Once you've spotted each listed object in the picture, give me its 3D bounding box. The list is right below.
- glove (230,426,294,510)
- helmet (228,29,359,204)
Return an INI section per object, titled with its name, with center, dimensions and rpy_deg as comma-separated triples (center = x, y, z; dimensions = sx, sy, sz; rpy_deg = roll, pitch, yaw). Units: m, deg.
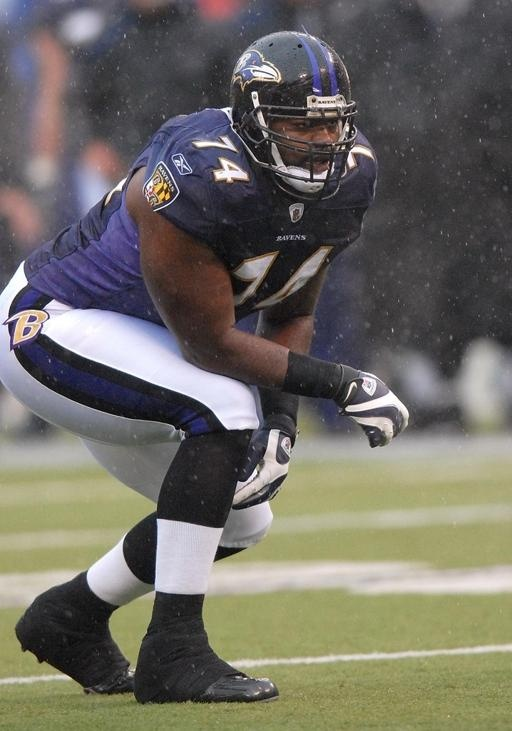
[glove]
center = 0.016, 0.176, 1.588
dimensions = 0.059, 0.086, 0.145
rpy_deg = -12, 35, 56
[helmet]
center = 0.060, -0.408, 1.496
dimensions = 0.198, 0.298, 0.137
rpy_deg = -3, -7, -2
